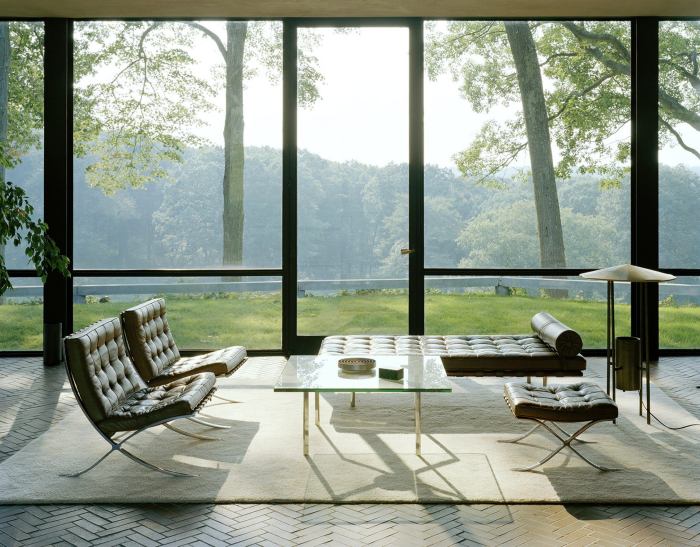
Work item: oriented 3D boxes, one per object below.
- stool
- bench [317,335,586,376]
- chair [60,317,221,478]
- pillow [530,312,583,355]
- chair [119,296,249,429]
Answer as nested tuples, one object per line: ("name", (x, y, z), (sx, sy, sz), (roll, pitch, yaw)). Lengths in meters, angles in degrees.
("stool", (1.468, 1.042, 4.227), (0.710, 0.508, 0.735), (1, 9, 10))
("bench", (0.902, 0.693, 5.157), (1.794, 0.150, 0.800), (0, 0, -1))
("chair", (-1.425, 0.785, 4.198), (0.963, 0.727, 0.909), (8, 7, 1))
("pillow", (1.837, 0.522, 5.265), (0.225, 0.200, 0.656), (-34, 4, 5))
("chair", (-1.352, 0.578, 4.945), (1.037, 0.541, 0.930), (3, 5, -18))
